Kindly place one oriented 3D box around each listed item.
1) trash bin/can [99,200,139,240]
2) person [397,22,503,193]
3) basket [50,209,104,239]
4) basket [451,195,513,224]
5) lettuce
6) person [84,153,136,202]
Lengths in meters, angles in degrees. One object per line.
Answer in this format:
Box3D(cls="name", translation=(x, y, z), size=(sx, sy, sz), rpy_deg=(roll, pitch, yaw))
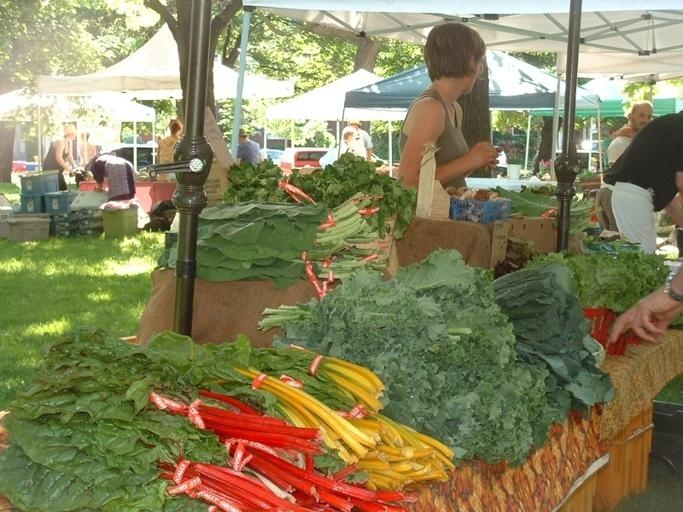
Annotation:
Box3D(cls="trash bin/can", translation=(-4.876, -0.818, 12.453), size=(0.916, 0.855, 0.802), rpy_deg=(-1, 1, -7))
Box3D(cls="person", translation=(0.757, -1.064, 3.840), size=(0.698, 1.191, 0.875), rpy_deg=(4, 8, 14))
Box3D(cls="basket", translation=(-5.931, -0.728, 12.336), size=(0.786, 0.355, 0.807), rpy_deg=(-5, 0, 42))
Box3D(cls="basket", translation=(0.861, -0.269, 3.286), size=(0.465, 0.144, 0.175), rpy_deg=(-2, 8, -30))
Box3D(cls="lettuce", translation=(1.483, 0.123, 2.992), size=(0.491, 0.240, 0.508), rpy_deg=(1, 10, 22))
Box3D(cls="person", translation=(-5.014, -1.762, 12.221), size=(0.874, 1.236, 0.872), rpy_deg=(11, 14, 38))
